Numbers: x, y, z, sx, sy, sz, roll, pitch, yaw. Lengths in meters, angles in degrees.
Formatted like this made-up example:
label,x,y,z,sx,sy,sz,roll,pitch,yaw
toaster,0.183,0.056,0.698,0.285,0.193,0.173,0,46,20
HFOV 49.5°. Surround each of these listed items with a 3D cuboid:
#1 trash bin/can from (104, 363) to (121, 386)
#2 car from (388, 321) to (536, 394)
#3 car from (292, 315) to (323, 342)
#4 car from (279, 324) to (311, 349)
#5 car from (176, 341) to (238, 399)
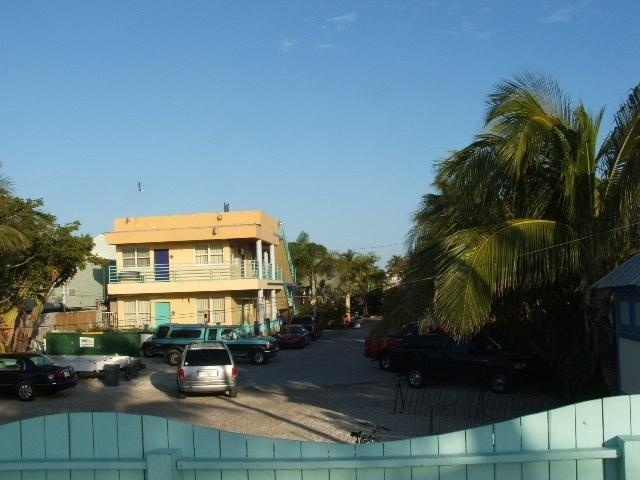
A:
label,x,y,z,sx,sy,sz,roll,pitch,yaw
trash bin/can,-7.033,4.561,23.428,0.620,0.776,0.629,0,-6,-1
car,4.263,3.578,21.681,4.112,1.672,1.932,-3,-5,23
car,-0.755,5.408,43.797,1.067,0.902,2.264,0,1,12
car,-1.403,5.303,37.771,1.184,0.885,2.673,-1,-6,2
car,-3.318,3.872,20.619,1.105,1.020,2.109,0,1,-5
